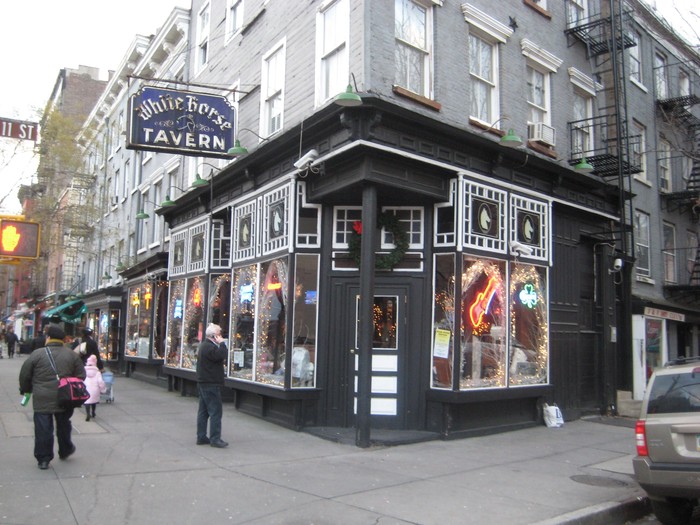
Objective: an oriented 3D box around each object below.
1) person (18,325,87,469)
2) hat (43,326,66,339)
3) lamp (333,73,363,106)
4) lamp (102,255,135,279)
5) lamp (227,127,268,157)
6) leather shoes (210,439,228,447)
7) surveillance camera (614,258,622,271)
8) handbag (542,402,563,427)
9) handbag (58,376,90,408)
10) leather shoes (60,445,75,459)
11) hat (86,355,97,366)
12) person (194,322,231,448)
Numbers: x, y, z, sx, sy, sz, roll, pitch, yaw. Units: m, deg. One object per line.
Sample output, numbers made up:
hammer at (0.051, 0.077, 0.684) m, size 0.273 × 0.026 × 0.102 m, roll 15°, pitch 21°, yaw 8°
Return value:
person at (-5.481, 2.449, 12.993) m, size 0.852 × 2.525 × 1.106 m, roll -8°, pitch -11°, yaw 39°
hat at (-5.503, 1.287, 13.170) m, size 0.298 × 0.301 × 0.234 m, roll -9°, pitch -6°, yaw 40°
lamp at (-0.034, -3.544, 14.385) m, size 0.497 × 0.497 × 0.485 m, roll 2°, pitch 9°, yaw 12°
lamp at (-10.885, 0.222, 33.222) m, size 0.815 × 1.168 × 2.339 m, roll 1°, pitch -11°, yaw -32°
lamp at (-2.677, -3.023, 18.053) m, size 1.182 × 0.841 × 0.669 m, roll 3°, pitch -8°, yaw -14°
leather shoes at (-2.669, 3.633, 14.274) m, size 0.309 × 0.143 × 0.167 m, roll 0°, pitch -3°, yaw 7°
surveillance camera at (7.603, 0.075, 20.025) m, size 0.223 × 0.331 × 0.322 m, roll 6°, pitch 5°, yaw 19°
handbag at (4.952, 3.780, 17.453) m, size 0.421 × 0.463 × 0.251 m, roll 14°, pitch -47°, yaw -21°
handbag at (-5.041, 2.365, 12.824) m, size 0.545 × 0.570 × 0.342 m, roll 0°, pitch 3°, yaw -33°
leather shoes at (-5.178, 3.480, 12.975) m, size 0.131 × 0.166 × 0.363 m, roll 0°, pitch 10°, yaw 16°
hat at (-6.336, 2.425, 17.378) m, size 0.242 × 0.256 × 0.249 m, roll 1°, pitch -15°, yaw 4°
person at (-2.842, 2.509, 14.458) m, size 0.578 × 2.378 × 0.761 m, roll 1°, pitch 3°, yaw -14°
